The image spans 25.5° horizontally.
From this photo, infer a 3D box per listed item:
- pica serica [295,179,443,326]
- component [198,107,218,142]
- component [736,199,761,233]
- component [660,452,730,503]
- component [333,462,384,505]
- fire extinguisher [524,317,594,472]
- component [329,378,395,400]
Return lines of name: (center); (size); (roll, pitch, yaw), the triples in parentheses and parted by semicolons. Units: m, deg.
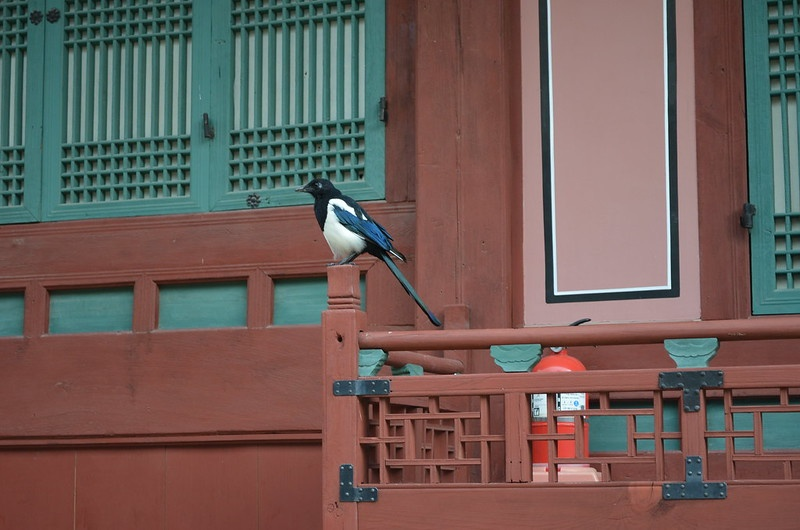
pica serica: (-0.168, -0.163, 10.604); (0.620, 0.964, 0.530); (4, 7, 37)
component: (-1.243, -0.875, 11.528); (0.164, 0.302, 0.091); (-1, -1, -3)
component: (2.113, -0.286, 10.650); (0.100, 0.165, 0.043); (-6, -9, 7)
component: (1.579, 1.137, 9.481); (0.342, 0.239, 0.062); (-5, -9, -1)
component: (-0.244, 1.192, 9.702); (0.238, 0.212, 0.047); (0, -8, -3)
fire extinguisher: (0.974, 0.752, 10.271); (0.376, 0.800, 0.373); (1, 1, -41)
component: (-0.220, 0.675, 9.752); (0.329, 0.106, 0.043); (-4, -9, -4)
